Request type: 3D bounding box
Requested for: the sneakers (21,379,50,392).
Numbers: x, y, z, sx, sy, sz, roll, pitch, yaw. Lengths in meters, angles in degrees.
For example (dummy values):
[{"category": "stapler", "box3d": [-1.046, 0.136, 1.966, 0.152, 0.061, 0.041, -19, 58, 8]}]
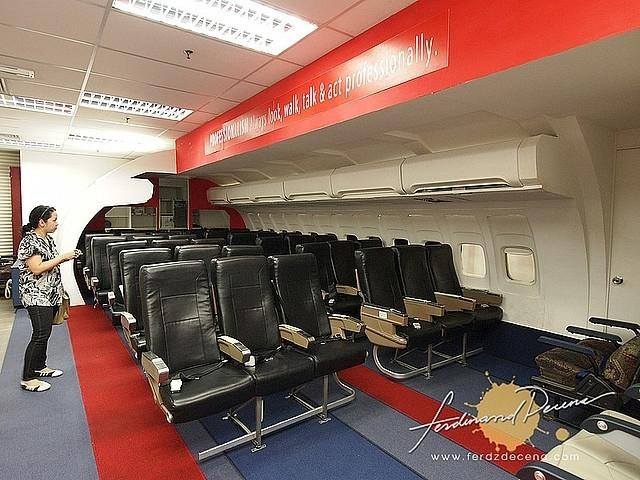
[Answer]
[{"category": "sneakers", "box3d": [-3.463, 1.769, 4.307, 0.295, 0.091, 0.146, 3, 2, 4]}]
